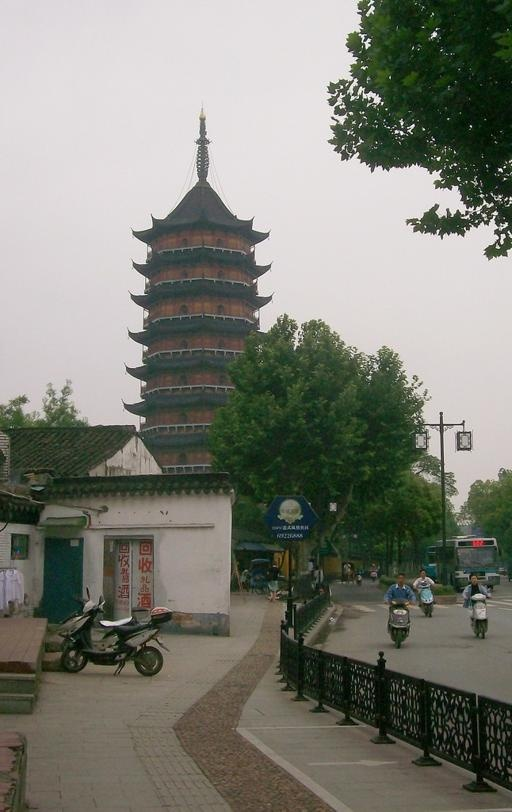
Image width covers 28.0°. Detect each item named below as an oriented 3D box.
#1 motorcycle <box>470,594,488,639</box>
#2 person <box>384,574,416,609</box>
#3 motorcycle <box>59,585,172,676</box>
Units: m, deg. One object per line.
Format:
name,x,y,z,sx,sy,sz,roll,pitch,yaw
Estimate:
motorcycle,4.838,4.552,22.211,0.316,0.909,0.694,-1,-7,11
person,3.025,4.026,21.496,0.470,0.986,0.558,-1,17,2
motorcycle,-1.915,3.499,15.274,1.838,1.473,0.929,-1,-19,5
